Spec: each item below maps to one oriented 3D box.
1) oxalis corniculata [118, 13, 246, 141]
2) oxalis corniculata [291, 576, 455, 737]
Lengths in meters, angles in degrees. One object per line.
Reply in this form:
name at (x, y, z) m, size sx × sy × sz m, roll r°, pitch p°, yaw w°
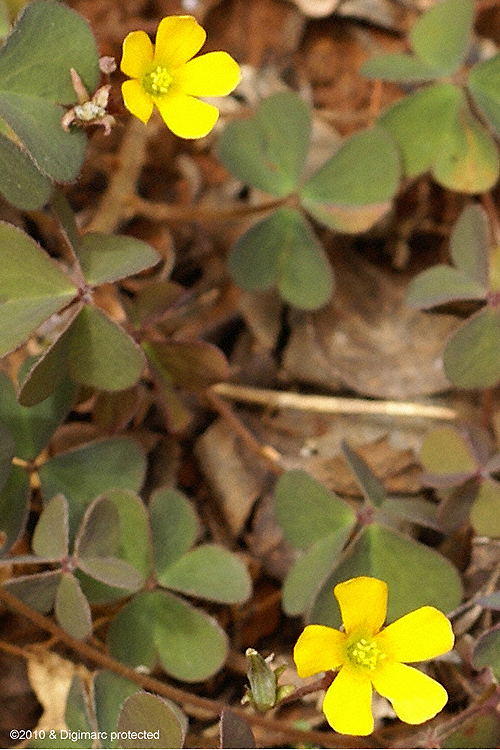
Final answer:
oxalis corniculata at (-0.076, -0.320, 0.786) m, size 0.102 × 0.136 × 0.135 m, roll 12°, pitch 60°, yaw 11°
oxalis corniculata at (0.098, 0.292, 0.762) m, size 0.180 × 0.074 × 0.171 m, roll -16°, pitch 90°, yaw -4°
